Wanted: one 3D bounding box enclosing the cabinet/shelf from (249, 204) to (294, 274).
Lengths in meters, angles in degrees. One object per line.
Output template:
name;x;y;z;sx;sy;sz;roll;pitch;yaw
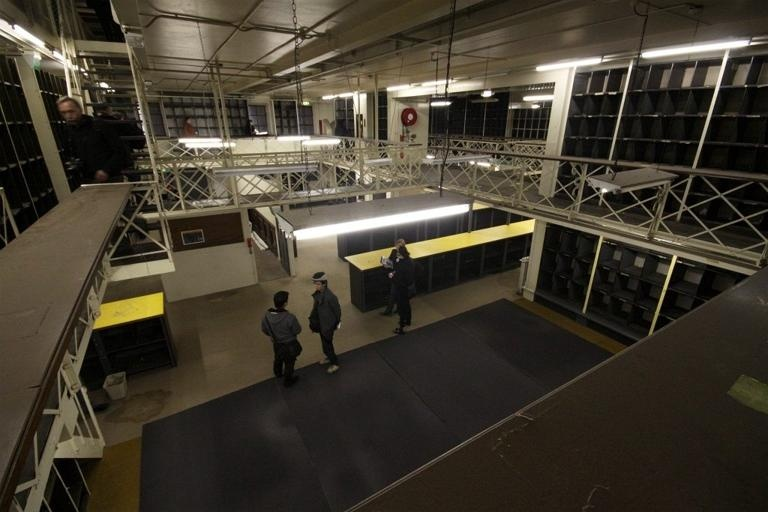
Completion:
cabinet/shelf;-3.721;-0.796;14.624;0.602;1.460;4.899;-12;24;-22

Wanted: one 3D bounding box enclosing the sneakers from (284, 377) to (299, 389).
sneakers;-1.699;2.294;8.379;0.117;0.193;0.292;20;34;29

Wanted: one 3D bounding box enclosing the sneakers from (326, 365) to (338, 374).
sneakers;-0.988;2.140;8.623;0.187;0.085;0.121;-20;35;-22

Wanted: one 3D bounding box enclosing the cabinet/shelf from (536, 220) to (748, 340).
cabinet/shelf;4.897;0.424;8.540;0.519;1.386;2.416;-9;20;-33

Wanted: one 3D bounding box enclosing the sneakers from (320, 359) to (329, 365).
sneakers;-1.167;2.061;8.862;0.166;0.063;0.076;-2;19;-18

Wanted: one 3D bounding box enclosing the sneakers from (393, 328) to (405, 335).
sneakers;0.325;1.637;9.874;0.230;0.149;0.108;2;12;29

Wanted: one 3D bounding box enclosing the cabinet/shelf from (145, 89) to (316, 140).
cabinet/shelf;-6.107;-6.352;20.328;3.609;2.210;7.154;17;29;39

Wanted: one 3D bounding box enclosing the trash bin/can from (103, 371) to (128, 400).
trash bin/can;-5.002;2.412;8.555;0.456;0.527;0.446;0;-2;-44

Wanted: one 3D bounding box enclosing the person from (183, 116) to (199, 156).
person;-8.092;-5.083;18.877;0.575;1.419;1.637;-11;24;-20

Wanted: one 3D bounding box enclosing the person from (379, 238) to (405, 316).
person;0.183;0.548;10.288;0.630;1.865;0.730;8;46;-2

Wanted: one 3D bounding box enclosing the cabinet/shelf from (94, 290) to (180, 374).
cabinet/shelf;-4.793;1.525;9.375;1.812;1.625;1.309;-9;21;-19
